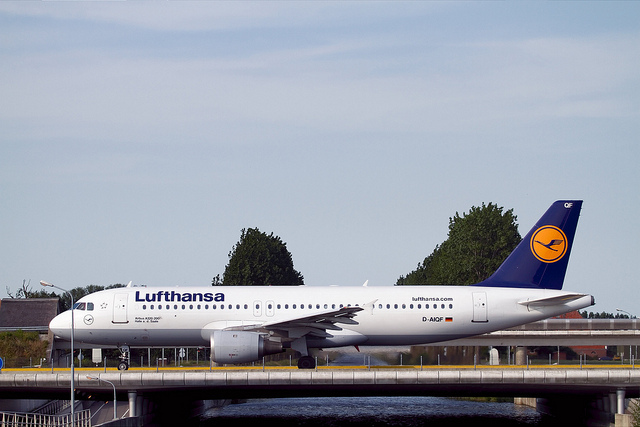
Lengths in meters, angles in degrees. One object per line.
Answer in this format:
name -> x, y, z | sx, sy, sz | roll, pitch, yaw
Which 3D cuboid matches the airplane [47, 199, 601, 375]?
airplane -> 0.346, 6.909, 112.498 | 49.866, 15.078, 43.470 | 0, -4, 1
